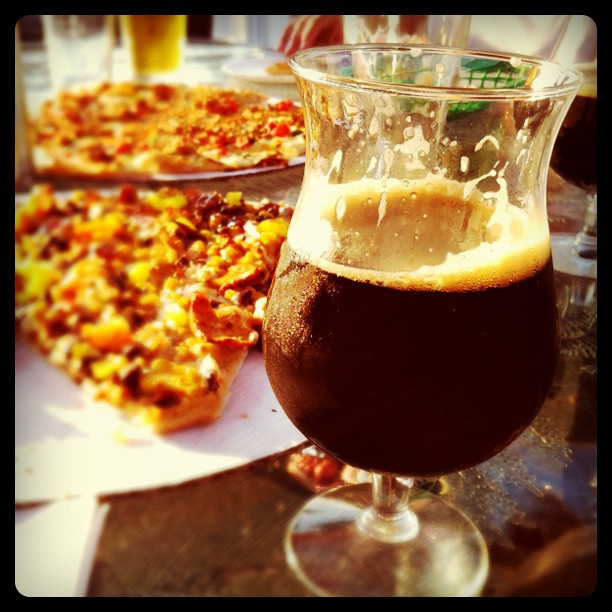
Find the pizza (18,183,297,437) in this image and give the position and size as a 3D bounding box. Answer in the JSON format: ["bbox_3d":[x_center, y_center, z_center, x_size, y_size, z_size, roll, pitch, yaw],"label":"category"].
[{"bbox_3d":[-0.233,0.024,0.875,0.378,0.047,0.372,24,38,28],"label":"pizza"}]

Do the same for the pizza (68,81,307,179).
[{"bbox_3d":[-0.224,-0.343,1.149,0.447,0.080,0.405,-4,35,-9],"label":"pizza"}]

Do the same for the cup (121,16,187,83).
[{"bbox_3d":[-0.278,-0.536,1.248,0.126,0.151,0.114,8,38,3],"label":"cup"}]
